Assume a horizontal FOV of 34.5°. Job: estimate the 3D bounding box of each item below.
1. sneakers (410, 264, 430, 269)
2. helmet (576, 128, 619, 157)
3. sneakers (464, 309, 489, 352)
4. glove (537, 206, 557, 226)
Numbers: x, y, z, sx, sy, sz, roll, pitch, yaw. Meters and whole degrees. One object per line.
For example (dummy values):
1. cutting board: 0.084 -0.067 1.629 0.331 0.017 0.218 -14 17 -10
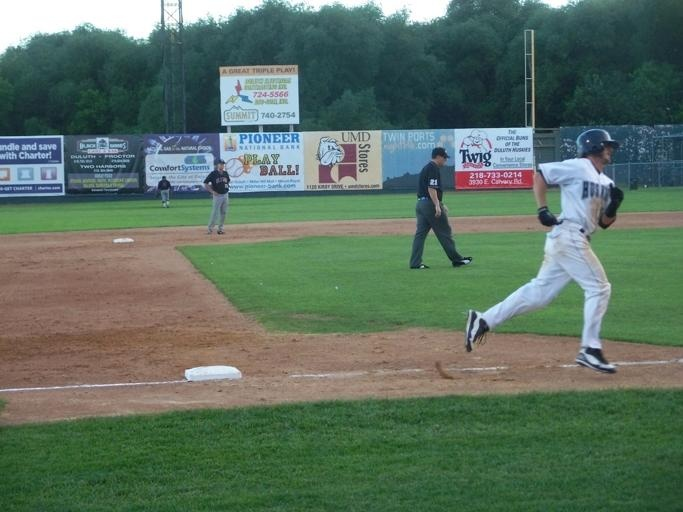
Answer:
1. sneakers: 1.462 0.202 20.436 0.356 0.118 0.108 -2 9 -11
2. helmet: 3.183 -1.392 13.790 0.504 0.317 0.344 8 1 14
3. sneakers: 1.741 0.932 14.133 0.295 0.581 0.216 9 7 9
4. glove: 2.574 -0.487 13.700 0.247 0.304 0.366 0 13 11
